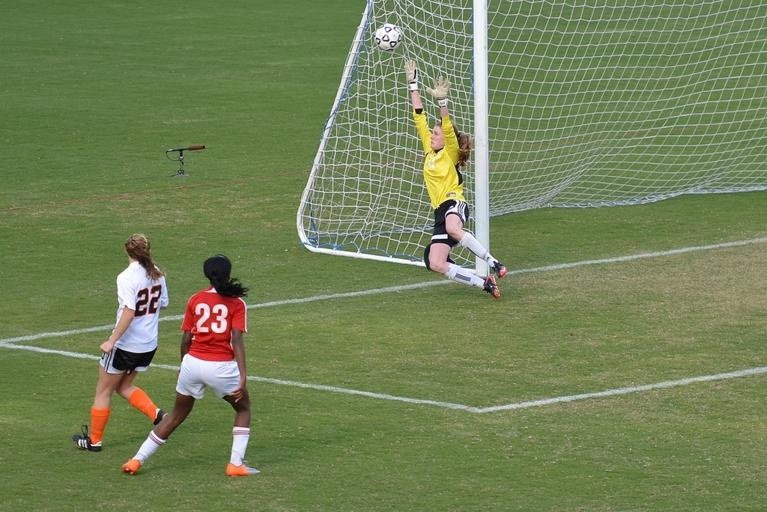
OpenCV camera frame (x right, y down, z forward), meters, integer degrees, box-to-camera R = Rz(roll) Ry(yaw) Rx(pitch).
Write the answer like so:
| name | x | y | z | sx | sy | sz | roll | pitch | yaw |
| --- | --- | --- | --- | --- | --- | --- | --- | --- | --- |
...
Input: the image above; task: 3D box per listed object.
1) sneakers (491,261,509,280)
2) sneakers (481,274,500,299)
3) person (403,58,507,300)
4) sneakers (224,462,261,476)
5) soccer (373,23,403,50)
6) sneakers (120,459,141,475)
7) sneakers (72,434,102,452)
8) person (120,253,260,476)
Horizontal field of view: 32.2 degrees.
| name | x | y | z | sx | sy | sz | roll | pitch | yaw |
| --- | --- | --- | --- | --- | --- | --- | --- | --- | --- |
| sneakers | 1.396 | 0.159 | 16.255 | 0.133 | 0.138 | 0.307 | -37 | 20 | 11 |
| sneakers | 1.291 | 0.362 | 16.044 | 0.210 | 0.108 | 0.377 | -9 | 8 | 2 |
| person | 0.898 | -0.866 | 16.261 | 1.162 | 2.723 | 1.233 | 0 | 10 | 0 |
| sneakers | -1.388 | 2.093 | 12.870 | 0.391 | 0.107 | 0.115 | 0 | 8 | -16 |
| soccer | 0.048 | -2.839 | 17.006 | 0.334 | 0.341 | 0.323 | 0 | 9 | -2 |
| sneakers | -2.440 | 2.065 | 12.822 | 0.194 | 0.063 | 0.187 | -4 | 12 | -6 |
| sneakers | -2.968 | 1.877 | 13.213 | 0.359 | 0.103 | 0.138 | 10 | 16 | 31 |
| person | -1.788 | 1.063 | 12.793 | 1.092 | 2.148 | 0.488 | -1 | 11 | -6 |
